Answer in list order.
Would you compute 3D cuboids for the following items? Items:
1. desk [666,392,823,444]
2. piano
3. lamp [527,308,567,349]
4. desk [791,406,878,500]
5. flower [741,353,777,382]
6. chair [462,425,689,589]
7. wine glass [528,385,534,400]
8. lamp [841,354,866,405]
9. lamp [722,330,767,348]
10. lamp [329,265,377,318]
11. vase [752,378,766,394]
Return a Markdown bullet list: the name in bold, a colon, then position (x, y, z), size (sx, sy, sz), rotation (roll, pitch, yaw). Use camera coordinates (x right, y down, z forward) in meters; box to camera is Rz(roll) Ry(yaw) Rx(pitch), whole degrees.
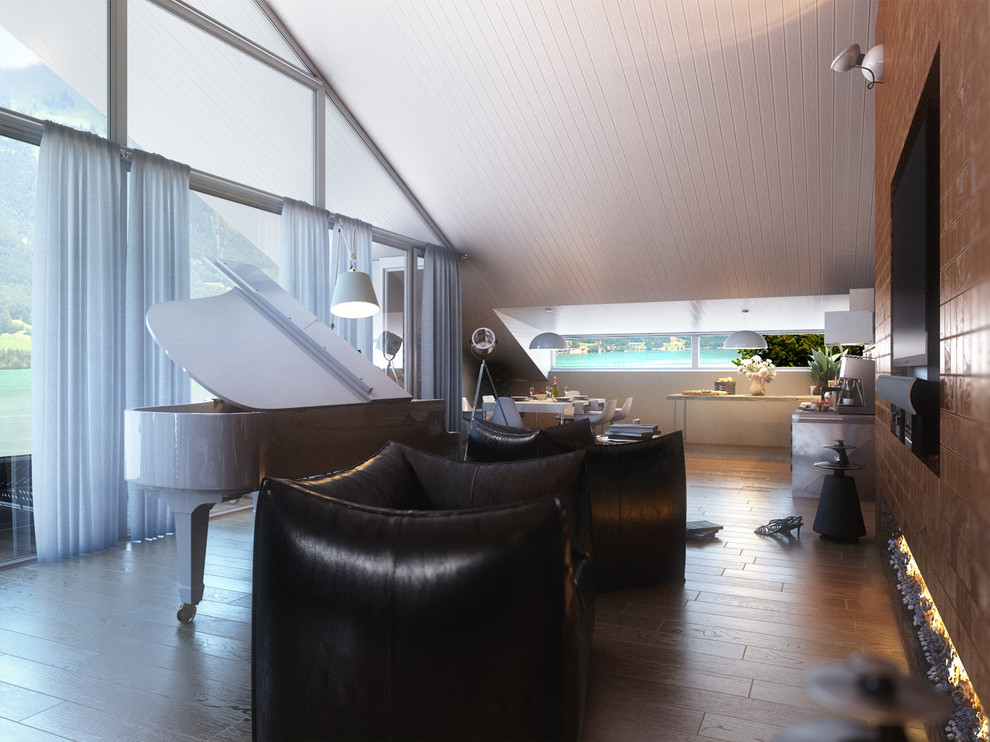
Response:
- **desk**: position (3.365, 0.685, 9.942), size (2.199, 0.942, 0.810), rotation (-1, -1, 25)
- **piano**: position (-1.198, 0.417, 4.273), size (1.651, 1.701, 1.272), rotation (1, -8, -44)
- **lamp**: position (0.745, -0.613, 9.807), size (0.565, 0.687, 0.555), rotation (4, -5, -41)
- **desk**: position (2.939, 0.804, 6.238), size (0.804, 0.904, 0.834), rotation (0, 1, 14)
- **flower**: position (3.266, -0.025, 8.723), size (0.412, 0.481, 0.443), rotation (-1, -2, -12)
- **chair**: position (0.595, 0.763, 3.949), size (0.929, 1.006, 0.975), rotation (-2, 2, 12)
- **wine glass**: position (0.592, 0.323, 11.406), size (0.117, 0.314, 0.121), rotation (1, -5, 2)
- **lamp**: position (3.232, 0.078, 6.409), size (0.208, 0.504, 0.283), rotation (-3, 12, 15)
- **lamp**: position (3.227, -0.411, 9.050), size (0.452, 0.243, 0.818), rotation (1, 5, 23)
- **lamp**: position (-1.098, -0.582, 5.580), size (0.336, 0.420, 0.373), rotation (-3, -8, 4)
- **vase**: position (3.145, 0.178, 8.444), size (0.124, 0.201, 0.136), rotation (-11, 11, -18)
